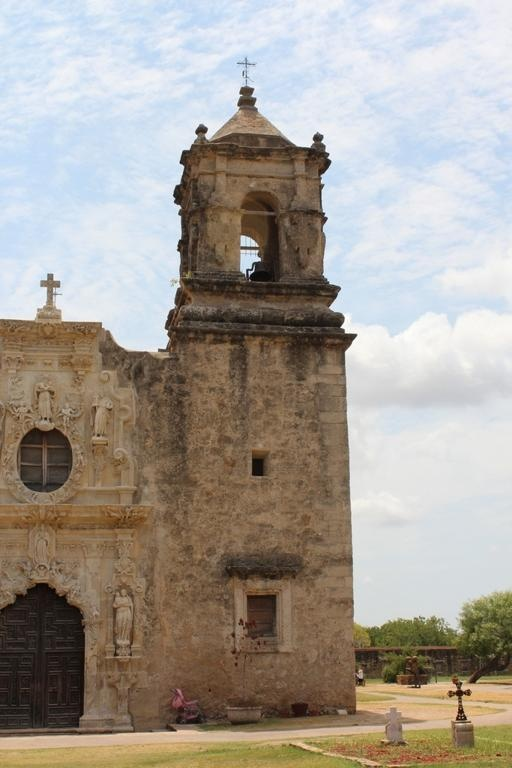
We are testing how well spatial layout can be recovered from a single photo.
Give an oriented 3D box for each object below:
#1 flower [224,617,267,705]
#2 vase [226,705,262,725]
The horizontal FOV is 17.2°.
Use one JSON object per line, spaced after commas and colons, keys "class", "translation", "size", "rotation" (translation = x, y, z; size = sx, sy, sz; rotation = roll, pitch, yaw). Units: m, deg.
{"class": "flower", "translation": [-0.250, 5.107, 30.833], "size": [0.708, 1.548, 0.283], "rotation": [-2, -15, -2]}
{"class": "vase", "translation": [-0.248, 5.878, 29.834], "size": [0.569, 0.341, 0.407], "rotation": [-2, -15, -3]}
